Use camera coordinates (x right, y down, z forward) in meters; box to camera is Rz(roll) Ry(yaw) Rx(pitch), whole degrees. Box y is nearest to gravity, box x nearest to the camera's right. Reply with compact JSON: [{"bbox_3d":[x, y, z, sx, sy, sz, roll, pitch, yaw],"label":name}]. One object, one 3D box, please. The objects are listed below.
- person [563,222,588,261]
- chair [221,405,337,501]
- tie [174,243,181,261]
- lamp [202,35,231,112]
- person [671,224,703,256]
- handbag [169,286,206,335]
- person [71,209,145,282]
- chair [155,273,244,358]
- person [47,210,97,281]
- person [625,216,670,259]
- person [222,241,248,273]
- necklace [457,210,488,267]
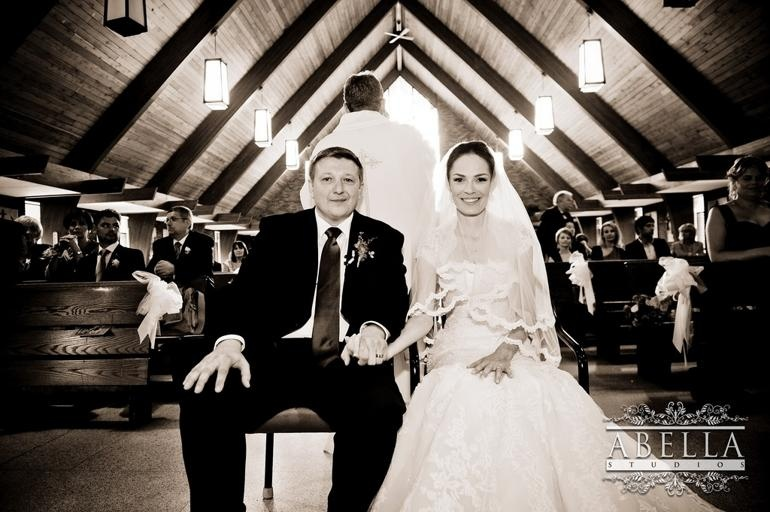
[{"bbox_3d":[3.356,-0.299,10.782,0.204,0.884,0.595,-27,-58,33],"label":"person"},{"bbox_3d":[-0.980,1.820,5.674,1.050,1.034,0.622,1,-1,4],"label":"chair"},{"bbox_3d":[-3.104,-0.052,9.198,0.124,0.238,0.057,1,-9,10],"label":"tie"},{"bbox_3d":[-2.818,-2.818,10.208,0.357,0.785,0.288,-2,12,-2],"label":"lamp"},{"bbox_3d":[5.801,-0.324,12.000,0.657,0.568,0.944,7,15,40],"label":"person"},{"bbox_3d":[-2.460,0.729,7.986,0.619,0.651,0.248,5,0,36],"label":"handbag"},{"bbox_3d":[-4.256,-0.157,9.371,1.030,1.327,0.664,-1,-20,-24],"label":"person"},{"bbox_3d":[-2.084,0.653,7.363,1.146,1.291,0.999,2,-4,-26],"label":"chair"},{"bbox_3d":[-4.852,-0.153,9.556,0.735,0.987,1.683,-1,23,-24],"label":"person"},{"bbox_3d":[5.077,-0.357,11.853,0.904,0.956,0.486,-1,-11,-2],"label":"person"},{"bbox_3d":[-3.338,0.011,13.528,0.684,0.811,0.450,1,-22,-5],"label":"person"},{"bbox_3d":[0.799,-0.156,5.650,0.247,0.460,0.119,3,-10,6],"label":"necklace"}]
